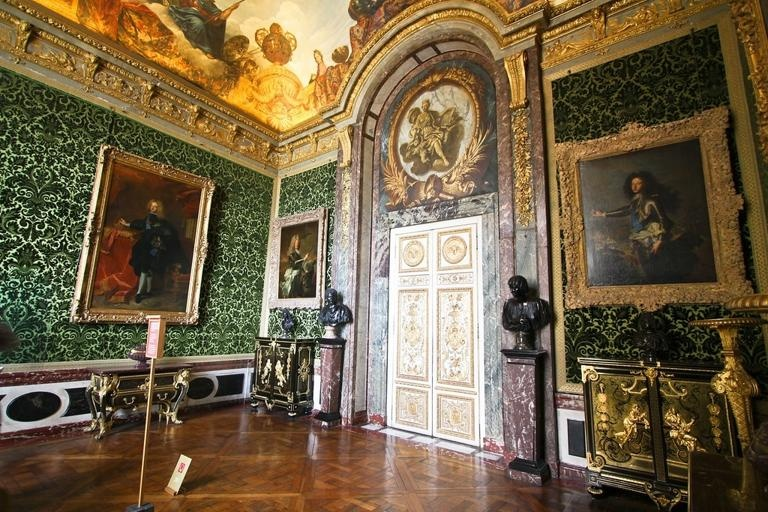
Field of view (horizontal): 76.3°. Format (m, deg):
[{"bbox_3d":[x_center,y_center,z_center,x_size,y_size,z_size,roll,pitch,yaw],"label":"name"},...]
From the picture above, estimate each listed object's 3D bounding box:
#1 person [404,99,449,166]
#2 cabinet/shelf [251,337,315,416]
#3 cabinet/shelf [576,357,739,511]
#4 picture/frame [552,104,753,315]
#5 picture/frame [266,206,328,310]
[{"bbox_3d":[0.747,-2.142,8.659,0.406,1.209,0.737,-2,-3,-43],"label":"person"},{"bbox_3d":[-1.782,2.183,8.771,1.147,1.128,0.455,-9,-16,37],"label":"cabinet/shelf"},{"bbox_3d":[3.329,2.121,5.822,1.851,1.776,0.786,0,-3,32],"label":"cabinet/shelf"},{"bbox_3d":[3.732,-0.560,6.582,2.596,3.180,0.234,-8,-15,34],"label":"picture/frame"},{"bbox_3d":[-1.684,0.101,9.673,1.757,2.051,0.222,-11,-19,36],"label":"picture/frame"}]
